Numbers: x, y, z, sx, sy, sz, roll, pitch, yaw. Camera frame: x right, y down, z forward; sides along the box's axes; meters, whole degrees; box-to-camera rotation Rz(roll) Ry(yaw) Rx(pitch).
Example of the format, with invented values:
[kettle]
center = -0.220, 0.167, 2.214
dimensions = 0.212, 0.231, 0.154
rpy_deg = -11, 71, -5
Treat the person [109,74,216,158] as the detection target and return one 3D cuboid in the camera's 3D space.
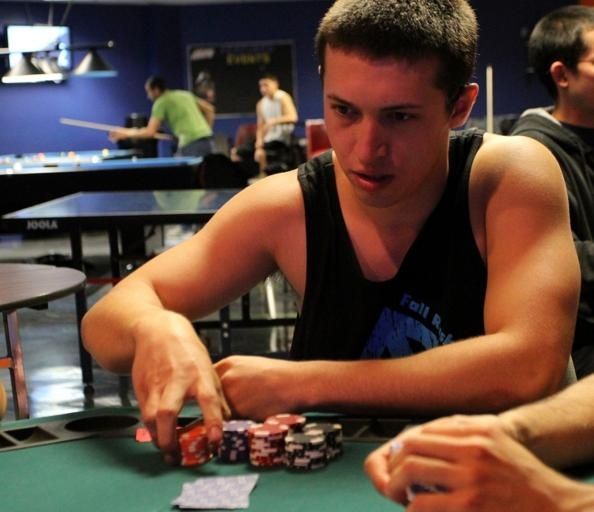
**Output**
[person]
center = -1.545, -1.695, 8.690
dimensions = 1.366, 1.624, 1.086
rpy_deg = -1, 9, 8
